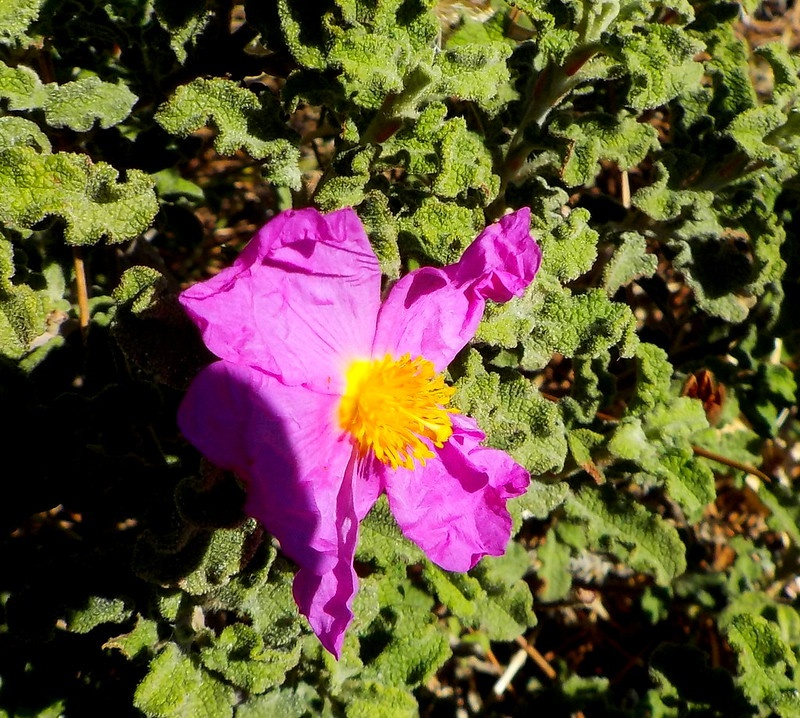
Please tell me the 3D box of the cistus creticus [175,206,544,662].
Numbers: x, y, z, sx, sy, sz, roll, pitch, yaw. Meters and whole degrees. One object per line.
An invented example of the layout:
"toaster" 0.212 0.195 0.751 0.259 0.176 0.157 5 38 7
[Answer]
"cistus creticus" -0.037 0.117 1.477 0.656 0.344 0.736 -5 83 -4
